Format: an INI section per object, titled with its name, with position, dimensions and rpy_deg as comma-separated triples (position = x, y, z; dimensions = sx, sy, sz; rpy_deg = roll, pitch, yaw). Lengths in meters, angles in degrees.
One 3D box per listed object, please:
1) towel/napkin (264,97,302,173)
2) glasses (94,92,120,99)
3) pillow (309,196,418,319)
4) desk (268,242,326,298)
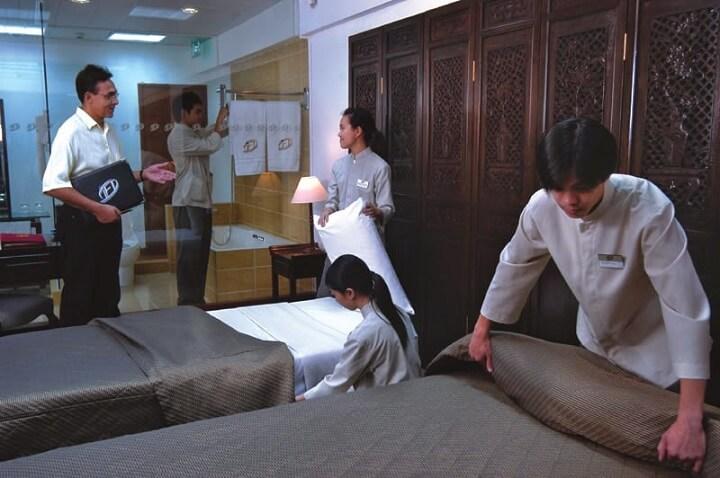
[towel/napkin]
position = -0.772, -1.051, 5.108
dimensions = 0.339, 0.695, 0.126
rpy_deg = -3, 10, -12
[glasses]
position = -1.904, -1.092, 3.781
dimensions = 0.051, 0.071, 0.143
rpy_deg = 8, 13, 40
[pillow]
position = 0.114, 0.052, 3.656
dimensions = 0.214, 0.804, 0.705
rpy_deg = -21, -8, -35
[desk]
position = -0.655, 0.223, 4.970
dimensions = 0.517, 0.731, 0.562
rpy_deg = -1, 2, -26
